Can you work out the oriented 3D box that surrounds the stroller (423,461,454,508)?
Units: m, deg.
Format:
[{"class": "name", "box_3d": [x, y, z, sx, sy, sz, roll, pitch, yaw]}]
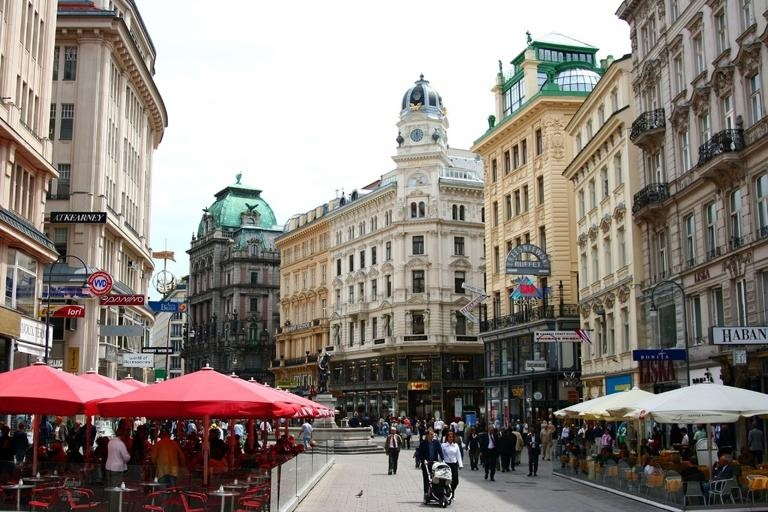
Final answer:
[{"class": "stroller", "box_3d": [2.148, 9.003, 43.254, 0.973, 1.773, 1.428, 1, -18, -8]}]

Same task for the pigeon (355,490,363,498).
[{"class": "pigeon", "box_3d": [-0.999, 9.610, 44.553, 0.357, 0.366, 0.226, 9, -25, 2]}]
